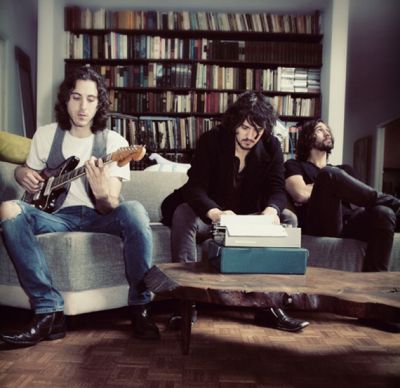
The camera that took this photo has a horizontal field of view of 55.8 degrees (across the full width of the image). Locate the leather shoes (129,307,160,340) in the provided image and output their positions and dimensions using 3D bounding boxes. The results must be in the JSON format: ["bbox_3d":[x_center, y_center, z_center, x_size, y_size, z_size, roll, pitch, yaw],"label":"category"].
[{"bbox_3d":[-0.226,0.500,1.533,0.088,0.150,0.224,0,-7,-17],"label":"leather shoes"}]

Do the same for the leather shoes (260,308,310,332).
[{"bbox_3d":[0.360,0.551,1.661,0.218,0.097,0.081,-2,-20,29],"label":"leather shoes"}]

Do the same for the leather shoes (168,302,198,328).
[{"bbox_3d":[-0.090,0.549,1.670,0.071,0.129,0.128,7,-12,21],"label":"leather shoes"}]

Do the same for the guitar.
[{"bbox_3d":[-0.529,-0.063,1.745,0.600,0.275,0.082,-29,-31,18],"label":"guitar"}]

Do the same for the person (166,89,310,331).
[{"bbox_3d":[0.178,0.051,1.932,0.675,1.187,0.801,5,8,-2],"label":"person"}]
